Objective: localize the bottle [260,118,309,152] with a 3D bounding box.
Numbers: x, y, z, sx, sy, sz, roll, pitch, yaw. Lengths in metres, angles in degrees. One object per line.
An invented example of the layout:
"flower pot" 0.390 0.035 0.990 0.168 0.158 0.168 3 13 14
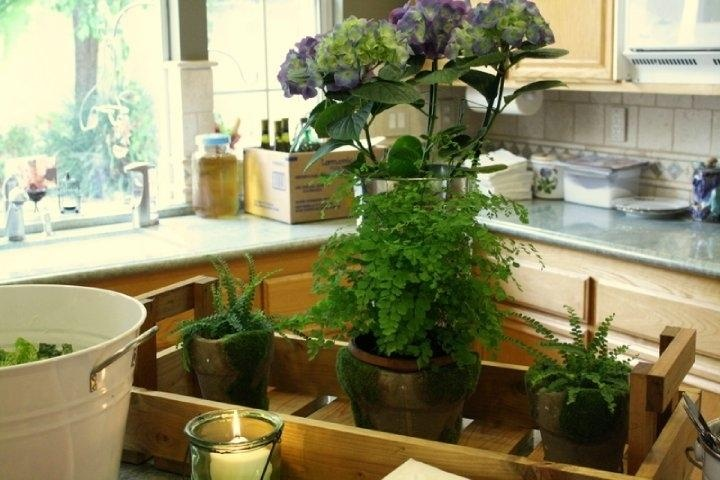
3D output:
"bottle" -0.418 -0.556 3.022 0.258 0.232 0.252 1 12 -1

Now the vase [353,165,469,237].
"vase" 0.087 -0.080 1.036 0.151 0.105 0.152 -6 8 -37

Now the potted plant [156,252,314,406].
"potted plant" -0.258 0.229 1.133 0.184 0.312 0.179 2 0 28

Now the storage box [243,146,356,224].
"storage box" -0.322 -0.326 3.027 0.659 0.339 0.646 -1 13 -12

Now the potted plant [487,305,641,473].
"potted plant" 0.387 0.280 0.956 0.176 0.271 0.193 1 14 17

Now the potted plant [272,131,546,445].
"potted plant" 0.135 0.079 1.192 0.457 0.553 0.569 2 3 40

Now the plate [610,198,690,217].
"plate" 1.500 -0.168 2.754 0.354 0.075 0.263 1 13 15

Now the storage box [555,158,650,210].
"storage box" 1.367 -0.319 3.016 0.444 0.214 0.469 8 14 33
